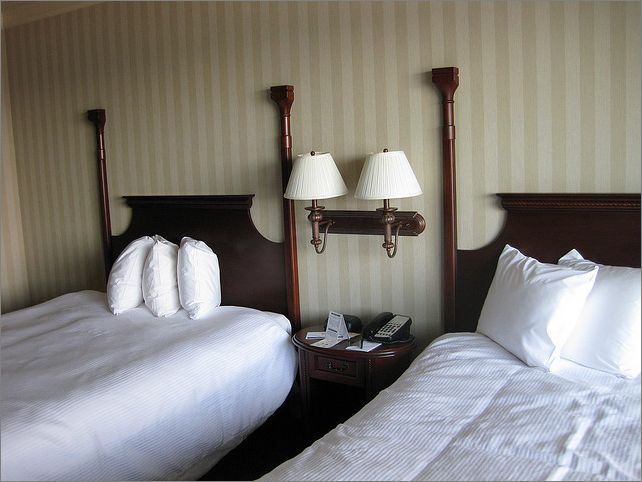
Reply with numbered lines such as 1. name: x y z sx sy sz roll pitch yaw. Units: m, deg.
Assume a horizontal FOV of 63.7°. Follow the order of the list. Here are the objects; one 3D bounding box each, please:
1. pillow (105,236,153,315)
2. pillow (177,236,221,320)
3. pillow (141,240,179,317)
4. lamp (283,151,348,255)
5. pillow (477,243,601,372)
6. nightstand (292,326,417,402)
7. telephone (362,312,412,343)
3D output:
1. pillow: -1.364 0.238 3.658 0.125 0.472 0.379 14 -17 -36
2. pillow: -0.839 0.242 3.612 0.243 0.545 0.437 -2 18 -7
3. pillow: -1.119 0.132 3.674 0.217 0.583 0.479 6 35 -9
4. lamp: -0.041 -0.222 3.257 0.355 0.693 0.396 -7 19 -14
5. pillow: 1.065 0.336 2.510 0.175 0.420 0.470 10 3 -19
6. nightstand: 0.168 0.522 3.059 0.536 0.600 0.407 4 14 21
7. telephone: 0.394 0.529 3.151 0.236 0.134 0.299 -6 0 -33
